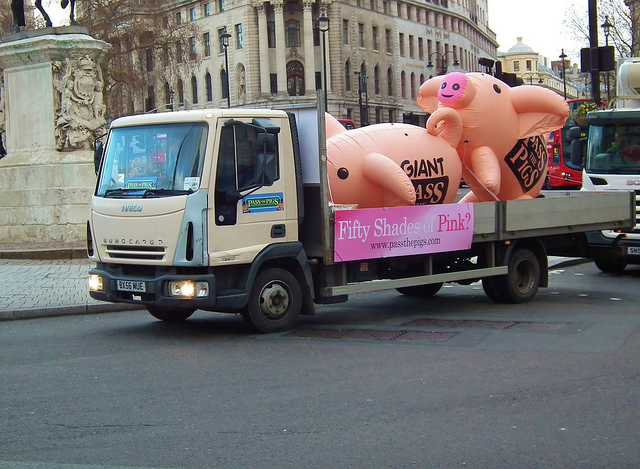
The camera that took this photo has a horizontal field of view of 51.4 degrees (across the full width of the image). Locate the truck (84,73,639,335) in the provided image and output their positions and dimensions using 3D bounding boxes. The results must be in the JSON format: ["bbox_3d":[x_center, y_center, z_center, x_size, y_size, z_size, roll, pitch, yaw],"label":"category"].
[{"bbox_3d":[0.746,-0.747,10.006,7.702,3.959,1.820,-3,4,-31],"label":"truck"}]

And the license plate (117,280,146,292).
[{"bbox_3d":[-2.390,0.643,8.396,0.523,0.133,0.011,2,4,33],"label":"license plate"}]

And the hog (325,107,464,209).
[{"bbox_3d":[1.057,-1.136,10.488,1.882,1.650,1.513,-5,9,-24],"label":"hog"}]

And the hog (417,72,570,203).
[{"bbox_3d":[3.075,-1.767,11.713,1.968,1.888,2.567,-1,-19,40],"label":"hog"}]
